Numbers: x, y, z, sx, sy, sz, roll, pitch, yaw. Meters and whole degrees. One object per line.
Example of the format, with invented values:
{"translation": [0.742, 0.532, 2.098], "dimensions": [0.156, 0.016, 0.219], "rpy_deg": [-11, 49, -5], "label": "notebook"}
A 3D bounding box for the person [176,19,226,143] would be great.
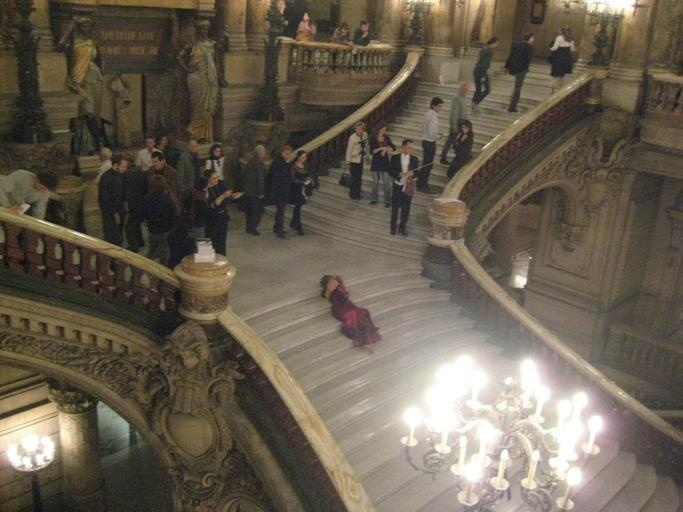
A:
{"translation": [-2.704, -3.267, 10.399], "dimensions": [0.752, 2.188, 0.418], "rpy_deg": [-4, 22, -16], "label": "person"}

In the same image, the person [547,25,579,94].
{"translation": [4.842, -4.269, 12.029], "dimensions": [0.521, 1.326, 1.606], "rpy_deg": [10, 22, 19], "label": "person"}

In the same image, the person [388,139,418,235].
{"translation": [1.039, -1.196, 9.477], "dimensions": [0.462, 1.651, 0.603], "rpy_deg": [5, 21, 5], "label": "person"}

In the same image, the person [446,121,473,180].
{"translation": [2.257, -1.992, 10.375], "dimensions": [0.426, 1.146, 0.482], "rpy_deg": [9, 22, 15], "label": "person"}

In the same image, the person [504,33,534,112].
{"translation": [3.844, -4.010, 12.005], "dimensions": [0.501, 1.617, 1.084], "rpy_deg": [8, 22, 14], "label": "person"}

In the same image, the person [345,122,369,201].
{"translation": [0.276, -1.758, 10.270], "dimensions": [0.356, 1.451, 0.376], "rpy_deg": [4, 21, 3], "label": "person"}

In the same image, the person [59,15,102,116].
{"translation": [-4.247, -3.077, 8.926], "dimensions": [0.395, 1.528, 0.581], "rpy_deg": [15, 25, 29], "label": "person"}

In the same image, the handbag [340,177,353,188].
{"translation": [0.071, -1.488, 10.829], "dimensions": [0.227, 0.211, 0.184], "rpy_deg": [16, 27, 30], "label": "handbag"}

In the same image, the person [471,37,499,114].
{"translation": [3.129, -4.014, 12.071], "dimensions": [0.418, 1.490, 0.850], "rpy_deg": [8, 22, 13], "label": "person"}
